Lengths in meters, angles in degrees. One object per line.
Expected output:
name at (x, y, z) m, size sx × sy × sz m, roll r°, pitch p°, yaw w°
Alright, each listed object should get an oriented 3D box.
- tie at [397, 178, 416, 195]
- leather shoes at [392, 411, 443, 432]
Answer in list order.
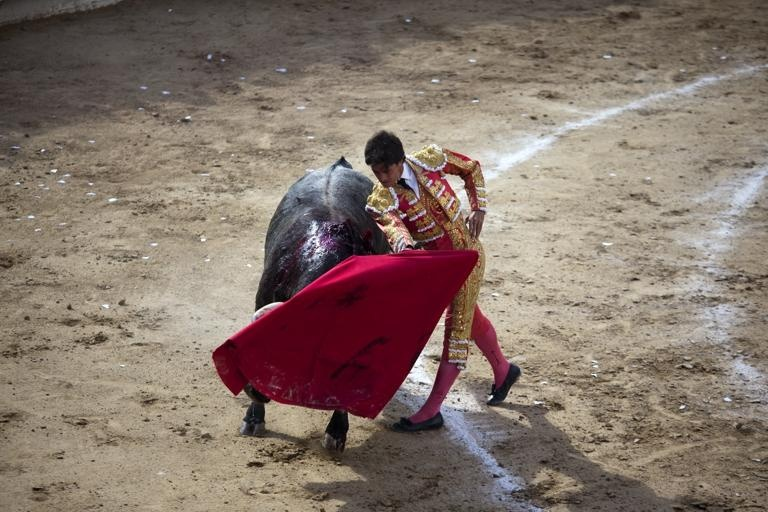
tie at (0.169, -0.565, 6.448) m, size 0.091 × 0.146 × 0.038 m, roll -135°, pitch 67°, yaw -76°
leather shoes at (0.307, 1.454, 6.982) m, size 0.552 × 0.118 × 0.142 m, roll 1°, pitch 10°, yaw -8°
